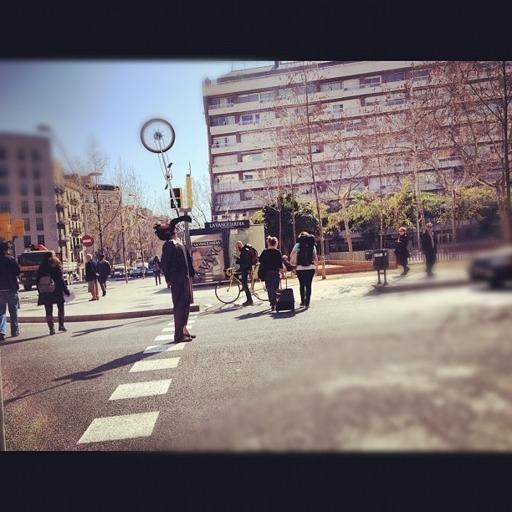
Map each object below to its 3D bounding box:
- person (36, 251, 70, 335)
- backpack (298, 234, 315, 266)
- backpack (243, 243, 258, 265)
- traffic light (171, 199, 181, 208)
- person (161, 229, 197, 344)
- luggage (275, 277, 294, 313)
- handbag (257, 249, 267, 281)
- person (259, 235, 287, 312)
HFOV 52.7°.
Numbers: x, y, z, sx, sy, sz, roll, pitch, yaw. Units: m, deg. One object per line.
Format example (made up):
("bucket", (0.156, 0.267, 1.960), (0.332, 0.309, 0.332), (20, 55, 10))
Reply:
("person", (-3.880, 0.682, 9.847), (0.554, 1.549, 1.303), (-3, 2, -24))
("backpack", (1.025, -0.133, 10.715), (0.376, 0.692, 0.344), (-2, 2, 7))
("backpack", (-0.157, -0.094, 12.929), (0.324, 0.677, 0.420), (-9, 6, 5))
("traffic light", (-2.022, -1.317, 12.917), (0.248, 0.221, 0.169), (-3, 2, -6))
("person", (-1.334, 0.553, 8.771), (0.506, 1.933, 0.783), (-2, 2, -6))
("luggage", (0.615, 0.897, 11.319), (0.365, 0.926, 0.444), (0, -8, -4))
("handbag", (0.126, 0.213, 11.325), (0.135, 0.543, 0.317), (2, 3, 9))
("person", (0.305, 0.263, 11.475), (0.499, 1.738, 0.490), (1, 33, 2))
